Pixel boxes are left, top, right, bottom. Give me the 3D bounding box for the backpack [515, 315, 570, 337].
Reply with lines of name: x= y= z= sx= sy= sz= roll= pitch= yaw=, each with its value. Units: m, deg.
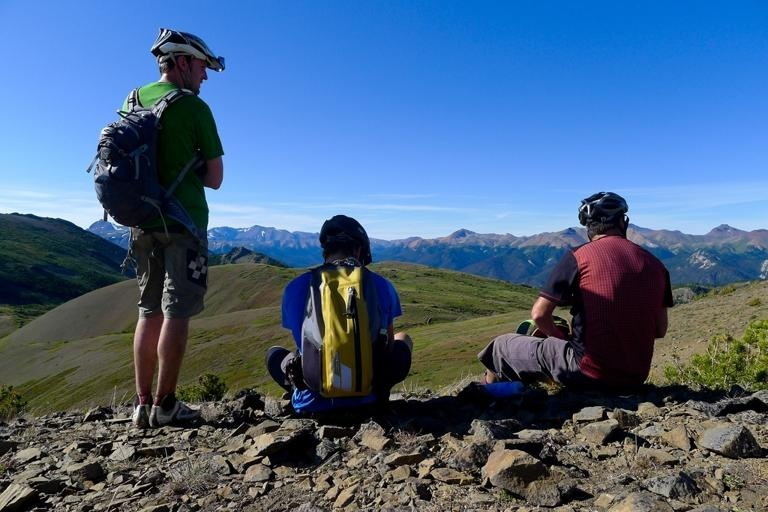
backpack: x=2.537 y=1.173 z=7.605 sx=0.602 sy=0.396 sz=0.566 roll=-5 pitch=7 yaw=-24
